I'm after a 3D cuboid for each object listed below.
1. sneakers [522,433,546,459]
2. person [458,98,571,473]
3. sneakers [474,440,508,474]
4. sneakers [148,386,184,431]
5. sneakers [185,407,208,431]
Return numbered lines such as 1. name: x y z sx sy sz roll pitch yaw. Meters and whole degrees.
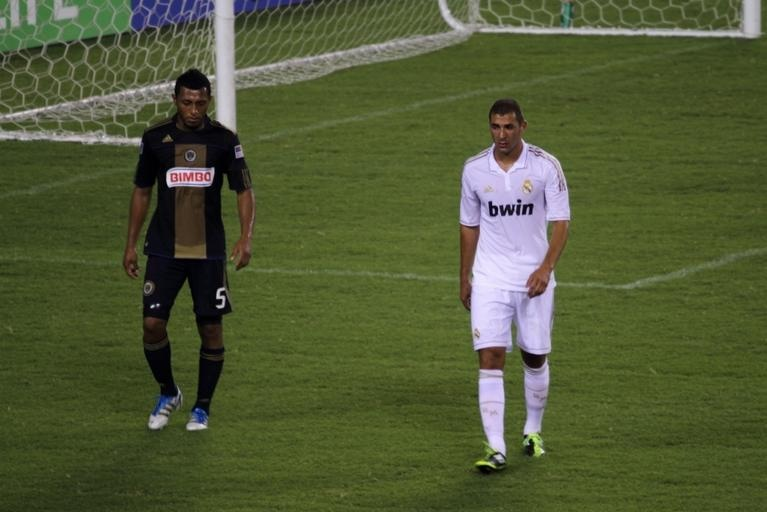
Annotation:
1. sneakers: 1.065 1.332 8.936 0.116 0.081 0.207 -2 2 1
2. person: 0.907 0.191 8.860 0.759 2.570 0.659 2 7 3
3. sneakers: 0.775 1.417 8.815 0.124 0.133 0.326 -5 -8 28
4. sneakers: -1.602 1.093 9.212 0.156 0.175 0.403 13 35 17
5. sneakers: -1.334 1.177 9.044 0.107 0.089 0.218 0 0 -5
